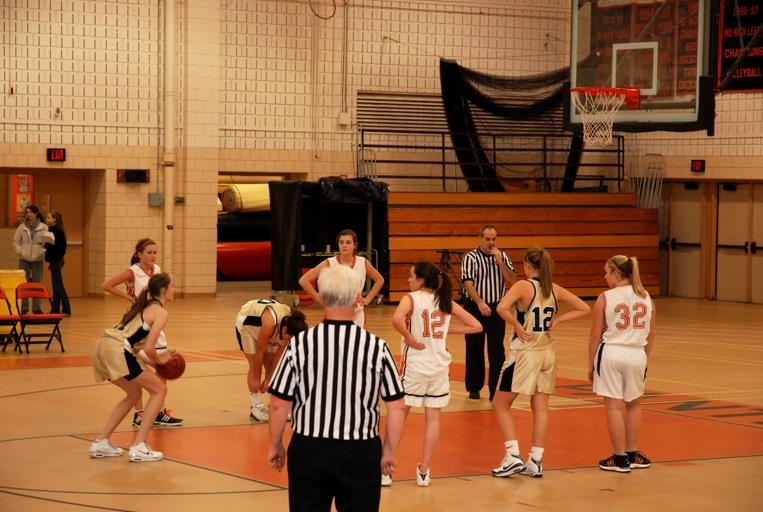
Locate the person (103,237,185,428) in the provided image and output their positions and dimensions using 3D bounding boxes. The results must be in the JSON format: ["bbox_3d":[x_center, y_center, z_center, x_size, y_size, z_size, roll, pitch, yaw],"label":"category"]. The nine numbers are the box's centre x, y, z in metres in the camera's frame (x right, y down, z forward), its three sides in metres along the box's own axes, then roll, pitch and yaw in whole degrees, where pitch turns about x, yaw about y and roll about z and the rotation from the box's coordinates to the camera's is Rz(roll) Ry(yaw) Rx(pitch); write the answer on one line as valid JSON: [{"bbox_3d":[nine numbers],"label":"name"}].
[{"bbox_3d":[-2.915,0.900,10.194,0.786,2.332,0.702,1,-17,-27],"label":"person"}]

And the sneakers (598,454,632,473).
[{"bbox_3d":[2.460,2.184,8.889,0.333,0.217,0.152,5,4,30],"label":"sneakers"}]

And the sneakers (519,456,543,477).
[{"bbox_3d":[1.558,2.179,8.737,0.129,0.196,0.263,-1,7,-10],"label":"sneakers"}]

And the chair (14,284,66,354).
[{"bbox_3d":[-5.938,1.101,14.451,0.894,1.668,1.093,1,-4,-31],"label":"chair"}]

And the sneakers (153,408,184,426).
[{"bbox_3d":[-2.570,1.935,10.050,0.390,0.212,0.148,1,-1,1],"label":"sneakers"}]

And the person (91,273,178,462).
[{"bbox_3d":[-2.696,1.190,8.972,0.810,1.967,0.418,0,4,10],"label":"person"}]

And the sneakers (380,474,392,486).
[{"bbox_3d":[0.041,2.236,8.362,0.091,0.126,0.270,1,3,6],"label":"sneakers"}]

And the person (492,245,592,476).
[{"bbox_3d":[1.586,1.092,8.865,1.075,2.348,0.544,-5,6,-43],"label":"person"}]

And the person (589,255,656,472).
[{"bbox_3d":[2.524,1.136,8.792,0.662,2.250,0.335,0,4,9],"label":"person"}]

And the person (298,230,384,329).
[{"bbox_3d":[-0.511,0.671,10.594,0.988,2.148,0.570,-3,27,-11],"label":"person"}]

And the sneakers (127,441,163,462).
[{"bbox_3d":[-2.523,2.093,8.958,0.377,0.217,0.168,0,0,-12],"label":"sneakers"}]

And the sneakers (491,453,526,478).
[{"bbox_3d":[1.322,2.161,8.642,0.396,0.317,0.166,-3,1,12],"label":"sneakers"}]

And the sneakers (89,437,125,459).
[{"bbox_3d":[-2.985,2.091,9.091,0.395,0.223,0.156,1,0,-11],"label":"sneakers"}]

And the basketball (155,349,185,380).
[{"bbox_3d":[-2.366,1.221,9.389,0.289,0.391,0.303,-3,6,-20],"label":"basketball"}]
